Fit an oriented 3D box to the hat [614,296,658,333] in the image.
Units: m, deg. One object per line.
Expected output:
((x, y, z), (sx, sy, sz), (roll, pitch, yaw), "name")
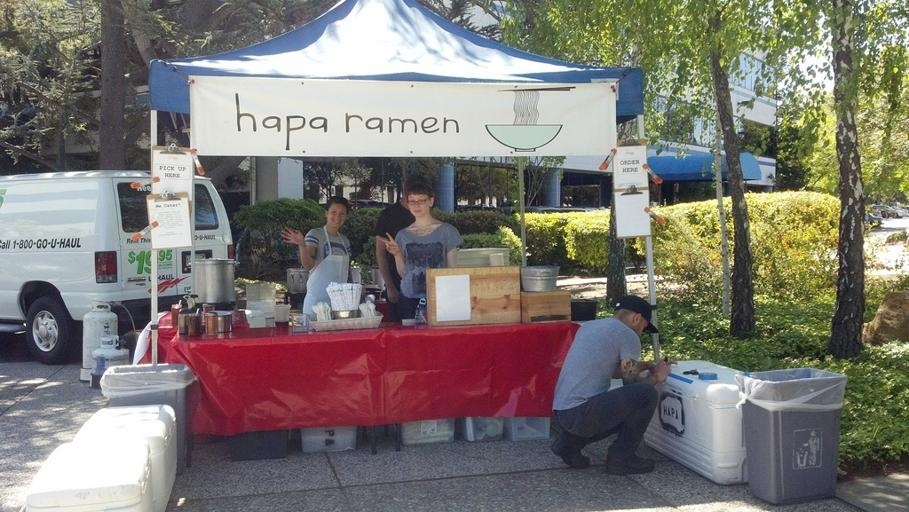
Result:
((2.664, 0.770, 12.620), (0.676, 0.344, 0.450), (24, -5, -15), "hat")

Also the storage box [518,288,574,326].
((1.347, 0.748, 13.059), (0.670, 0.393, 0.366), (-3, 3, -10), "storage box")

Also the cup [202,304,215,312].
((-3.562, 0.756, 12.763), (0.120, 0.113, 0.122), (2, 4, 0), "cup")

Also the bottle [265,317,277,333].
((-2.707, 1.020, 12.867), (0.196, 0.286, 0.192), (1, -2, 0), "bottle")

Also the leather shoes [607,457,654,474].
((2.463, 2.926, 12.433), (0.676, 0.262, 0.247), (-3, 2, -5), "leather shoes")

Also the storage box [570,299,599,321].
((2.003, 0.847, 13.792), (0.361, 0.343, 0.344), (0, -3, -9), "storage box")

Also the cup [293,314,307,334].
((-2.255, 1.003, 12.808), (0.248, 0.238, 0.246), (2, -4, 0), "cup")

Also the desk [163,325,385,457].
((-2.573, 2.333, 13.538), (3.445, 1.590, 2.749), (-1, -19, -6), "desk")

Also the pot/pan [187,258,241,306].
((-3.576, 0.372, 13.094), (0.633, 0.666, 0.630), (0, 1, -11), "pot/pan")

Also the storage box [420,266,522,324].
((0.234, 0.566, 13.136), (1.468, 0.859, 0.840), (-2, 5, -11), "storage box")

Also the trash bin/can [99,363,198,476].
((-4.490, 2.299, 12.711), (1.554, 1.657, 1.380), (3, 4, -19), "trash bin/can")

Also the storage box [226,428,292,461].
((-2.811, 2.699, 12.585), (0.543, 0.332, 0.543), (1, -4, -18), "storage box")

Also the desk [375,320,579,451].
((0.150, 1.594, 13.424), (2.473, 1.179, 1.542), (-1, -2, -9), "desk")

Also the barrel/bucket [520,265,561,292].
((1.226, 0.344, 12.868), (0.414, 0.248, 0.405), (0, -2, 0), "barrel/bucket")

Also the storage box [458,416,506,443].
((0.391, 2.558, 13.065), (0.443, 0.275, 0.437), (1, -3, 2), "storage box")

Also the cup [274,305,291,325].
((-2.526, 0.856, 12.888), (0.199, 0.275, 0.176), (-2, 6, -14), "cup")

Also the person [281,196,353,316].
((-2.054, -0.036, 13.428), (0.900, 1.689, 0.886), (-1, 6, -7), "person")

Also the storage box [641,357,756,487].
((3.669, 2.352, 12.927), (1.320, 1.340, 2.009), (-2, 6, -18), "storage box")

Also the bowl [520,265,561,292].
((1.202, 0.348, 12.915), (0.414, 0.248, 0.405), (0, -2, 0), "bowl")
